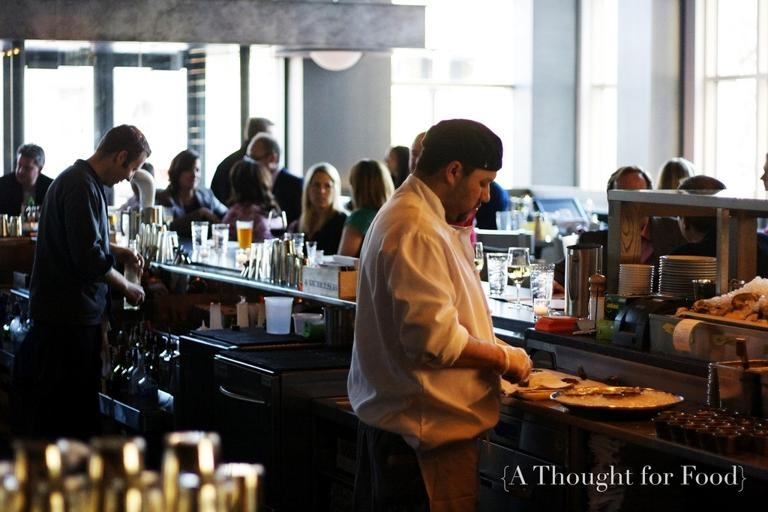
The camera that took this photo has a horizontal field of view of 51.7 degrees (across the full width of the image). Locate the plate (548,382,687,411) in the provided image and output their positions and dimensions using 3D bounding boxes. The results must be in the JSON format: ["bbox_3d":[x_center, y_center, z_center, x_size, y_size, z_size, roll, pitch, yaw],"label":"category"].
[{"bbox_3d":[0.834,0.524,2.929,0.373,0.044,0.444,-2,4,-39],"label":"plate"}]

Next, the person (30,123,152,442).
[{"bbox_3d":[-1.759,0.147,4.701,0.698,1.847,0.494,-1,2,-30],"label":"person"}]

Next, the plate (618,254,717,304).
[{"bbox_3d":[1.207,0.087,3.383,0.399,0.165,0.349,1,3,19],"label":"plate"}]

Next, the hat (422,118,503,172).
[{"bbox_3d":[0.274,-0.384,2.751,0.225,0.149,0.177,0,7,4],"label":"hat"}]

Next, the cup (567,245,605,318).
[{"bbox_3d":[0.892,0.110,3.538,0.152,0.316,0.143,0,2,0],"label":"cup"}]

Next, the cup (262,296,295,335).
[{"bbox_3d":[-0.579,0.322,4.362,0.146,0.199,0.217,0,3,-10],"label":"cup"}]
